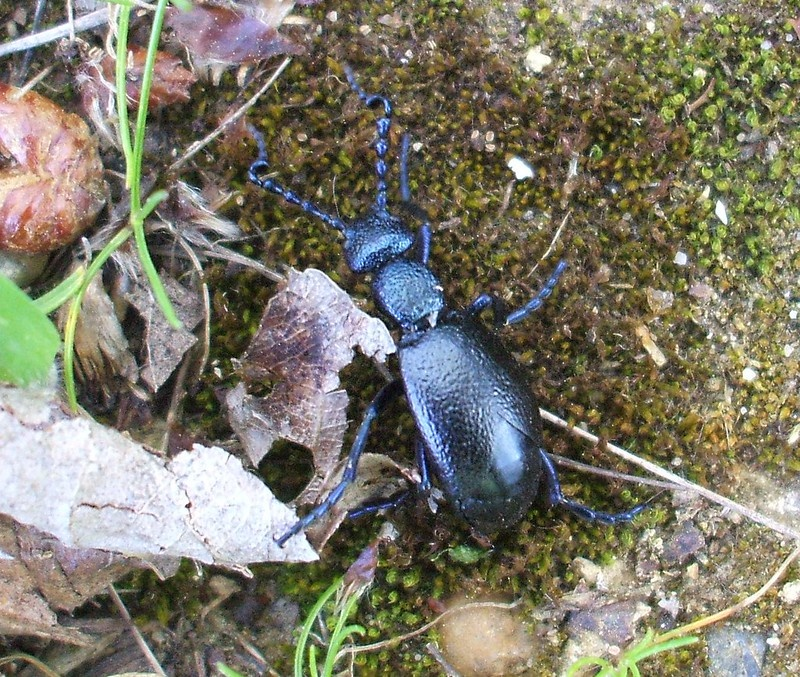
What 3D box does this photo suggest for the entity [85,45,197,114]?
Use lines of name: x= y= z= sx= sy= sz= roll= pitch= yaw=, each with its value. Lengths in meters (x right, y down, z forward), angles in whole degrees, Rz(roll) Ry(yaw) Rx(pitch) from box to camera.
entity: x=-1.491 y=-1.486 z=5.380 sx=0.658 sy=0.160 sz=0.352 roll=-14 pitch=76 yaw=-10
